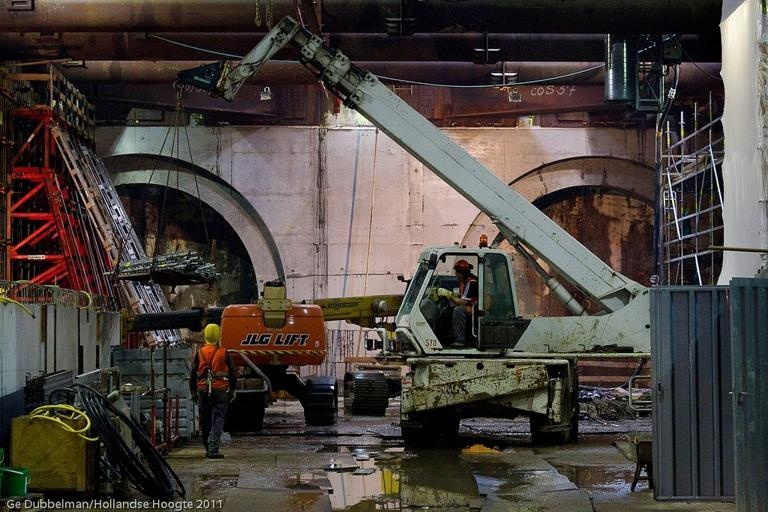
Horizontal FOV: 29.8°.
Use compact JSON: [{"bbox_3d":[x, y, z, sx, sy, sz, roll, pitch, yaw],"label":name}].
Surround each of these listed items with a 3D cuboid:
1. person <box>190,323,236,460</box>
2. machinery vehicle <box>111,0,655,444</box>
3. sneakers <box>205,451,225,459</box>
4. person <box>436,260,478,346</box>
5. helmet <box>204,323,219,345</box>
[{"bbox_3d":[-3.812,3.027,32.259,0.976,2.988,0.940,-1,-6,-8],"label":"person"},{"bbox_3d":[2.376,0.545,39.653,16.612,12.847,5.999,0,-3,1],"label":"machinery vehicle"},{"bbox_3d":[-3.751,4.445,32.182,0.421,0.200,0.145,0,0,-7],"label":"sneakers"},{"bbox_3d":[1.742,1.129,33.955,0.936,2.087,0.544,-2,-6,2],"label":"person"},{"bbox_3d":[-3.815,1.745,32.236,0.336,0.463,0.451,3,5,-2],"label":"helmet"}]
